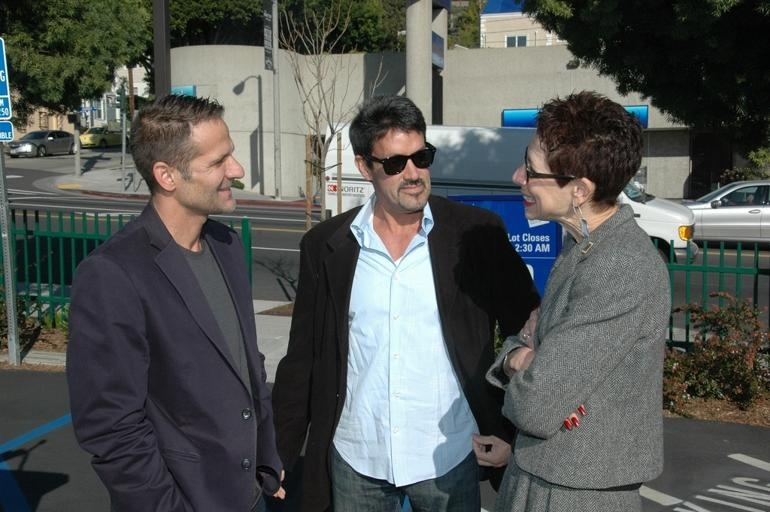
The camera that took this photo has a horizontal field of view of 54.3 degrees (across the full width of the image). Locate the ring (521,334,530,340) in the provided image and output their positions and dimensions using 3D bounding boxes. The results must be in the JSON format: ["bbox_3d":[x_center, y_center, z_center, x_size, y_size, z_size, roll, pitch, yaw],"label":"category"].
[{"bbox_3d":[0.740,0.429,3.964,0.046,0.029,0.027,6,8,14],"label":"ring"}]
